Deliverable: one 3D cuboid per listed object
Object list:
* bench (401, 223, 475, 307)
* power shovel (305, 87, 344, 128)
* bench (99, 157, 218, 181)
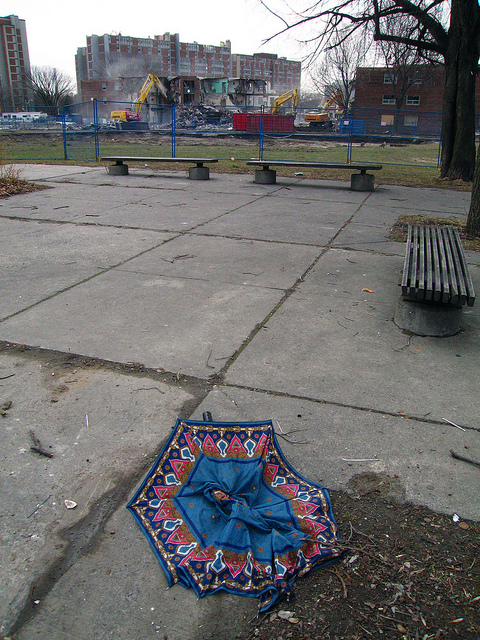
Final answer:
[{"bbox_3d":[1.800,-0.514,4.567,0.517,0.201,1.972,3,28,13],"label":"bench"},{"bbox_3d":[9.335,-22.503,53.115,5.146,3.599,1.751,-23,22,-36],"label":"power shovel"},{"bbox_3d":[-2.169,-4.230,13.777,3.363,0.595,1.730,9,24,19],"label":"bench"}]
